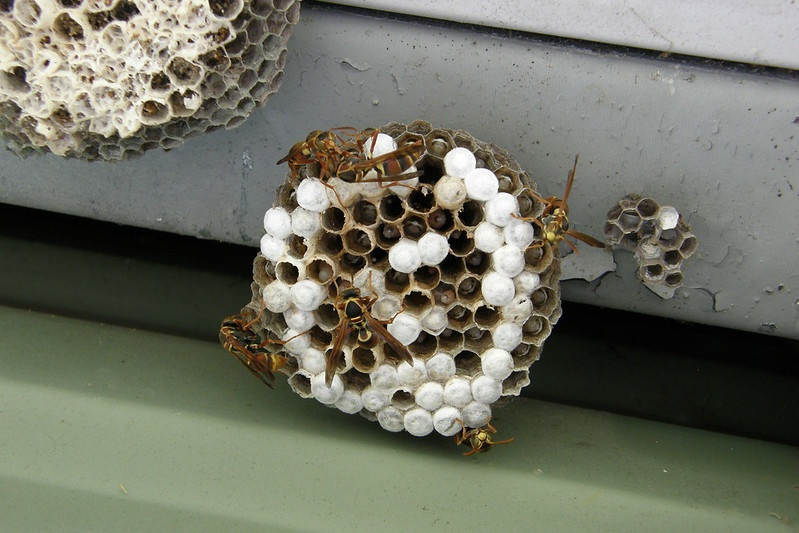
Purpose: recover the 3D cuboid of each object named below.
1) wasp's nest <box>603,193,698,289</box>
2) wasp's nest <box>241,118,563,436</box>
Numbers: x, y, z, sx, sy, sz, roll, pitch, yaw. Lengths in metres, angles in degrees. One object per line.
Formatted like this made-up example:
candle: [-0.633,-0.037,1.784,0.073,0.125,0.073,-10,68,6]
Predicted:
wasp's nest: [1.135,-0.127,3.743,0.422,0.236,0.363,22,84,4]
wasp's nest: [-0.038,0.007,3.659,0.528,1.636,1.357,-14,74,45]
